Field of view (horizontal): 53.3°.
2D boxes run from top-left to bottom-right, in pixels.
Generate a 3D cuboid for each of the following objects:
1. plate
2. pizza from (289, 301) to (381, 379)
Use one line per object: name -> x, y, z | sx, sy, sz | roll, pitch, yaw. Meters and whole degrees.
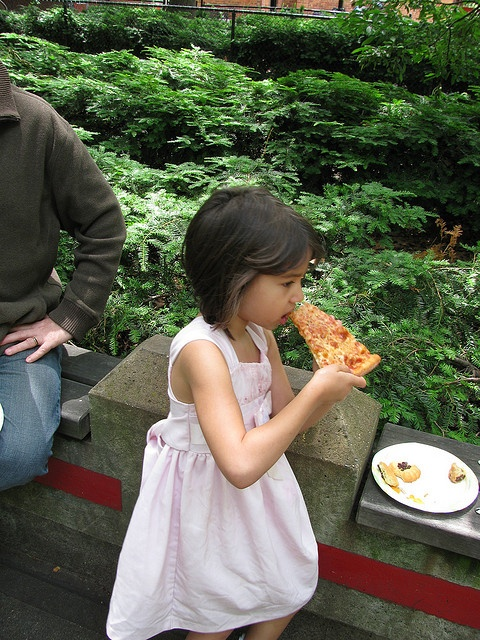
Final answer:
plate -> 0.608, 0.504, 1.581 | 0.323, 0.051, 0.304 | 12, 23, 7
pizza -> 0.252, 0.062, 1.398 | 0.178, 0.047, 0.283 | -30, 67, -29
